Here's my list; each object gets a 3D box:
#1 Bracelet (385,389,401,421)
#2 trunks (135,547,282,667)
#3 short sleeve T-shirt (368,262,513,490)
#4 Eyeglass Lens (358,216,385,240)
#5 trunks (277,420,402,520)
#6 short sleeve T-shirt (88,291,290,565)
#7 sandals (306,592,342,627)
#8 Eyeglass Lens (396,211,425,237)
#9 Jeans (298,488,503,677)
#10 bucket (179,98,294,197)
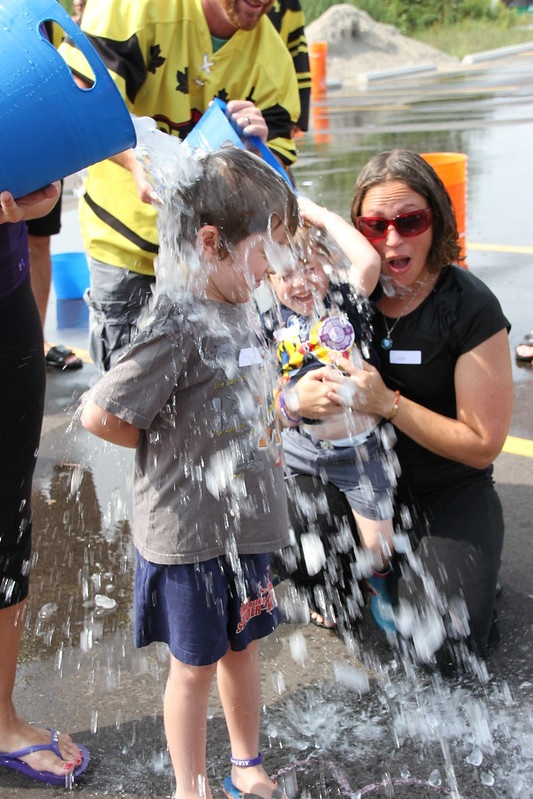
[{"bbox_3d":[0.378,0.019,1.896,0.024,0.075,0.058,13,6,-12],"label":"Bracelet"},{"bbox_3d":[-0.132,0.430,1.332,0.320,0.258,0.224,-4,13,-2],"label":"trunks"},{"bbox_3d":[0.499,-0.007,2.111,0.633,0.785,0.310,-3,9,35],"label":"short sleeve T-shirt"},{"bbox_3d":[0.342,-0.544,2.003,0.087,0.035,0.085,-3,10,-35],"label":"Eyeglass Lens"},{"bbox_3d":[0.262,0.241,2.098,0.114,0.330,0.272,-29,18,-32],"label":"trunks"},{"bbox_3d":[-0.147,0.067,1.282,0.380,0.550,0.211,-7,14,-15],"label":"short sleeve T-shirt"},{"bbox_3d":[0.194,0.693,2.045,0.051,0.061,0.146,9,-14,-9],"label":"sandals"},{"bbox_3d":[0.443,-0.532,1.911,0.111,0.079,0.030,-5,13,-6],"label":"Eyeglass Lens"},{"bbox_3d":[0.482,0.427,1.921,0.411,0.690,0.284,-9,-13,30],"label":"Jeans"},{"bbox_3d":[-0.060,-0.692,1.805,0.266,0.216,0.244,28,-1,1],"label":"bucket"}]
